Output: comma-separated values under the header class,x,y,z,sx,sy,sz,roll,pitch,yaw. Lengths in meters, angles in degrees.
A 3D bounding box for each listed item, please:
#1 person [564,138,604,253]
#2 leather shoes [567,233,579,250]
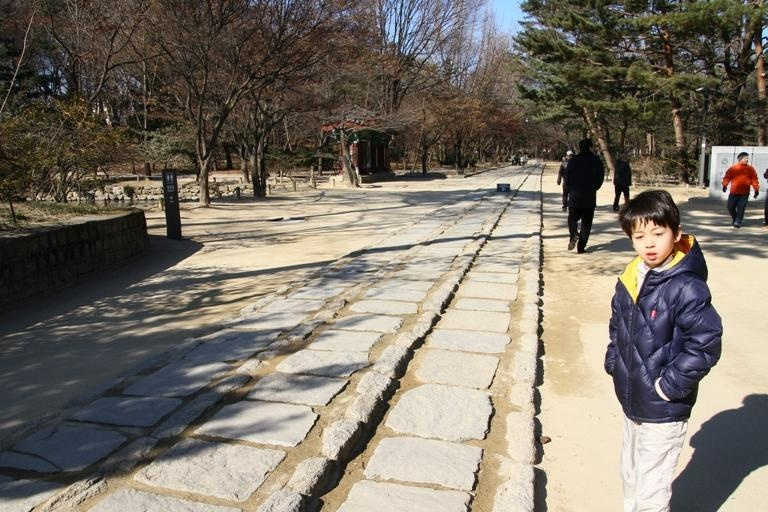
class,x,y,z,sx,sy,sz,roll,pitch,yaw
person,3.501,-1.094,8.912,0.600,1.933,1.129,7,15,21
leather shoes,3.318,-0.248,8.848,0.110,0.312,0.121,18,15,32
